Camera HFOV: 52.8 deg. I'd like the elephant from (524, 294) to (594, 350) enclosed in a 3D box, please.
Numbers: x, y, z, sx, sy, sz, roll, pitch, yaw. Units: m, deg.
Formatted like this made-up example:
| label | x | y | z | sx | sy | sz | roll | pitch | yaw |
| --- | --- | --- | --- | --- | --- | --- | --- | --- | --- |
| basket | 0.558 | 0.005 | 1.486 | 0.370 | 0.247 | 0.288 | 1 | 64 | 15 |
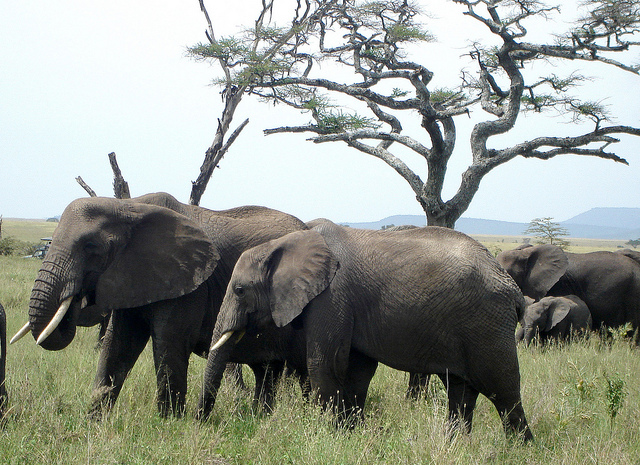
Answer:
| label | x | y | z | sx | sy | sz | roll | pitch | yaw |
| --- | --- | --- | --- | --- | --- | --- | --- | --- | --- |
| elephant | 4.451 | 1.730 | 12.238 | 1.733 | 1.117 | 0.796 | 2 | 1 | -3 |
